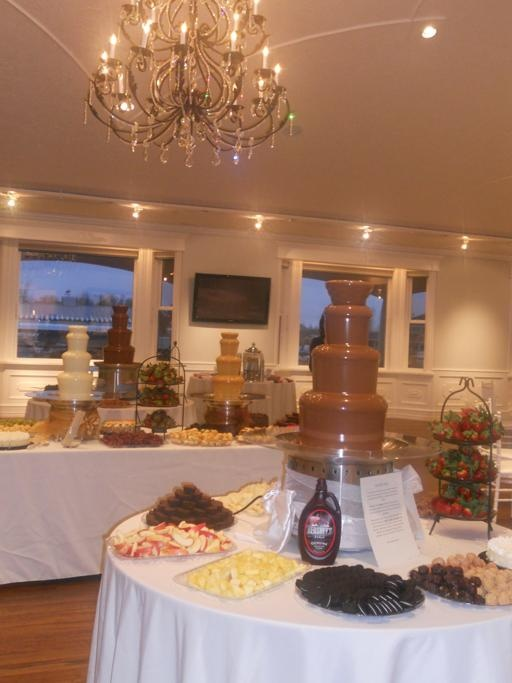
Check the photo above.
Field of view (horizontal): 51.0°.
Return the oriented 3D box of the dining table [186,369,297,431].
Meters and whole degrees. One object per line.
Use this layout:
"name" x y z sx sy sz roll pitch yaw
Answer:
"dining table" -0.103 0.455 4.168 0.788 0.371 0.755 0 -7 0
